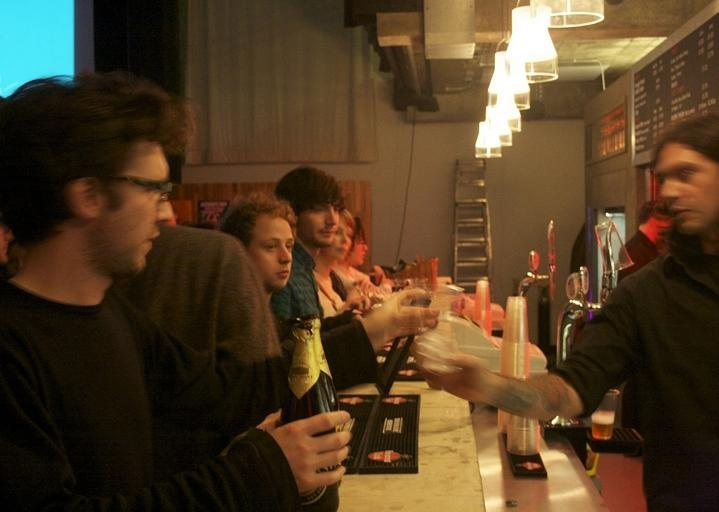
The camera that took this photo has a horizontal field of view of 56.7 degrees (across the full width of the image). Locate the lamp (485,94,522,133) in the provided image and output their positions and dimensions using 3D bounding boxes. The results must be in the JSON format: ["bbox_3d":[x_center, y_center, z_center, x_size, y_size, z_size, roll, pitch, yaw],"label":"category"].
[{"bbox_3d":[0.831,-0.780,3.640,0.233,0.244,0.229,-5,12,-14],"label":"lamp"}]

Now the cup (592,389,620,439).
[{"bbox_3d":[0.634,0.405,1.716,0.063,0.118,0.129,2,5,20],"label":"cup"}]

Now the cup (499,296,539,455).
[{"bbox_3d":[0.412,0.296,1.688,0.103,0.397,0.230,1,5,13],"label":"cup"}]
